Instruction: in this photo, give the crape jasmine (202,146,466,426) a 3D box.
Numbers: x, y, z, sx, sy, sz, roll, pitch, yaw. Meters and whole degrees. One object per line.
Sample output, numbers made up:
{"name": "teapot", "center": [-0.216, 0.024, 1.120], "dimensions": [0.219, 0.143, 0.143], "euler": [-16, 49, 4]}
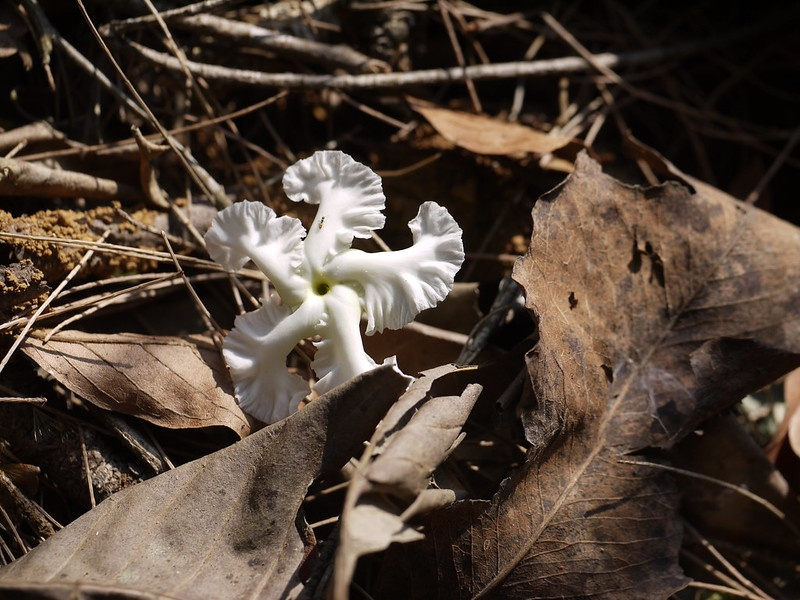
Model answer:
{"name": "crape jasmine", "center": [-0.250, -0.034, 2.866], "dimensions": [0.836, 0.923, 0.211], "euler": [11, -10, 10]}
